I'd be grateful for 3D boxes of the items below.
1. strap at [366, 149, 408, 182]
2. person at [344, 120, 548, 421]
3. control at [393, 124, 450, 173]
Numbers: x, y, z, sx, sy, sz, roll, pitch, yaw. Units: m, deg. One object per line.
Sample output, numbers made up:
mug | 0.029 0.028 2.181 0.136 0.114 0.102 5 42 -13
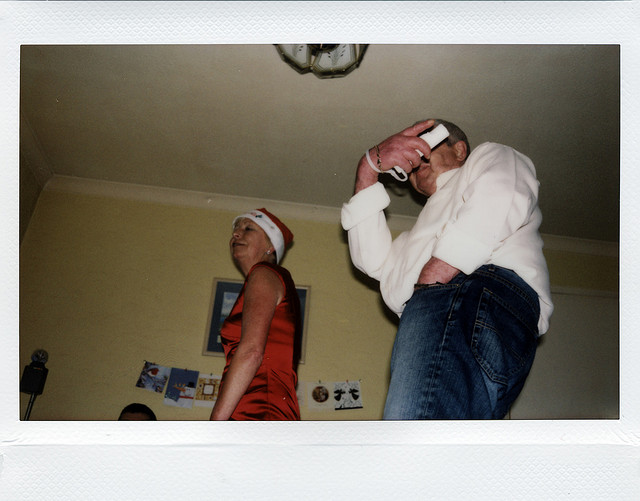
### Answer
strap | 0.206 -0.253 1.687 0.079 0.032 0.136 25 -15 41
person | 0.352 0.011 1.615 0.592 0.959 0.296 -1 -23 23
control | 0.322 -0.320 1.710 0.174 0.193 0.102 9 -21 -1
